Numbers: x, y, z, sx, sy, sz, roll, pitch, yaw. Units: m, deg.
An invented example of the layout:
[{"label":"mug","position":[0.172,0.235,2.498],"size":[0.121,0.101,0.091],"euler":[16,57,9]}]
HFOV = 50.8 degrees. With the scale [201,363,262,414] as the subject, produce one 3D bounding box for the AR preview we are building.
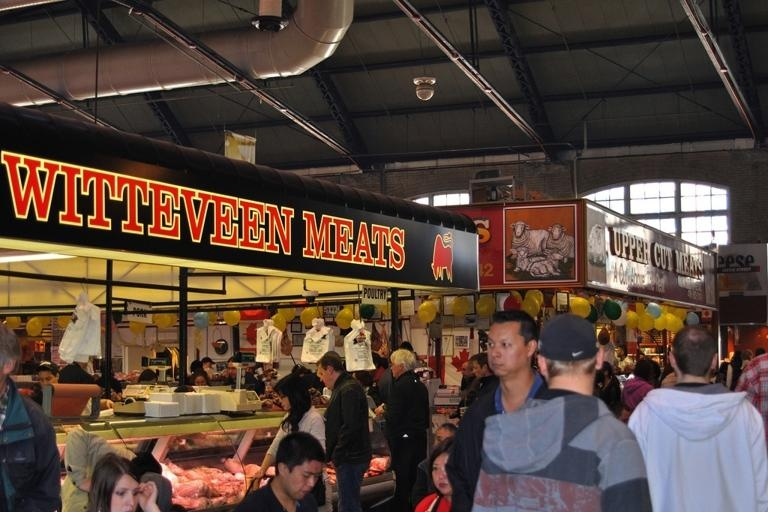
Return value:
[{"label":"scale","position":[-1.706,1.458,8.845],"size":[0.689,0.524,0.388],"euler":[-3,-7,34]}]
